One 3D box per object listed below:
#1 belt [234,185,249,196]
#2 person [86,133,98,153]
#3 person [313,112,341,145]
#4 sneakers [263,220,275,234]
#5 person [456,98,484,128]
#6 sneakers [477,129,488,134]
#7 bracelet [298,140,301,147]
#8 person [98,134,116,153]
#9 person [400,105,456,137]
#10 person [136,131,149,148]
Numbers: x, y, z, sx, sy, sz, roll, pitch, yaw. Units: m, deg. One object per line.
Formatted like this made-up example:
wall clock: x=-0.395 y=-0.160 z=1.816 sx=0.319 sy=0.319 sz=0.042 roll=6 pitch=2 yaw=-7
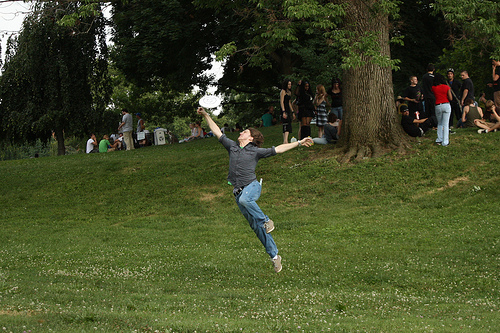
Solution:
belt: x=-0.273 y=0.832 z=22.533 sx=0.411 sy=0.154 sz=0.301 roll=-33 pitch=11 yaw=1
person: x=-9.949 y=-1.499 z=42.064 sx=0.598 sy=1.128 sz=2.919 roll=-7 pitch=4 yaw=-12
person: x=3.946 y=-1.794 z=31.712 sx=1.556 sy=1.456 sz=1.145 roll=-2 pitch=1 yaw=-28
sneakers: x=0.672 y=2.022 z=22.556 sx=0.301 sy=0.400 sz=0.230 roll=-6 pitch=3 yaw=0
person: x=10.384 y=-2.326 z=31.255 sx=1.003 sy=1.997 sz=1.257 roll=-3 pitch=16 yaw=-1
sneakers: x=10.489 y=-1.594 z=29.784 sx=0.407 sy=0.144 sz=0.169 roll=5 pitch=-10 yaw=5
bracelet: x=1.728 y=-0.827 z=22.582 sx=0.120 sy=0.134 sz=0.381 roll=-6 pitch=4 yaw=5
person: x=-8.819 y=-1.450 z=41.519 sx=0.942 sy=0.980 sz=0.740 roll=16 pitch=22 yaw=36
person: x=7.895 y=-2.265 z=30.487 sx=1.966 sy=1.510 sz=1.014 roll=-18 pitch=10 yaw=-7
person: x=-6.631 y=-1.754 z=41.314 sx=1.111 sy=1.015 sz=0.802 roll=-1 pitch=-2 yaw=2
